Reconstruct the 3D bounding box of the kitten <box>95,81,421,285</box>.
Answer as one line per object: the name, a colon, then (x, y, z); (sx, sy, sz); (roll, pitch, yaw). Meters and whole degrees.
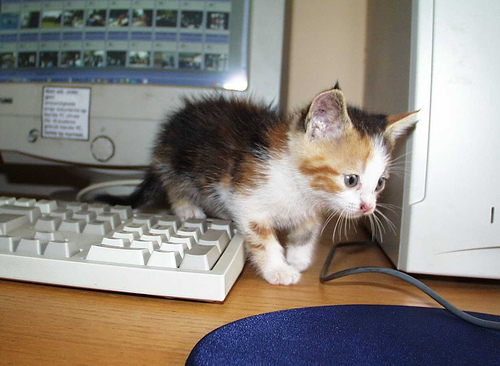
kitten: (0.016, -0.046, 1.014); (0.673, 0.386, 0.355); (13, 23, 30)
